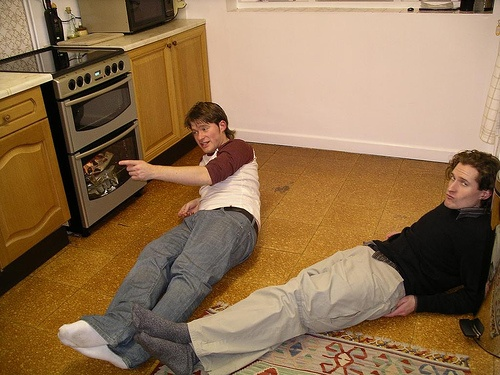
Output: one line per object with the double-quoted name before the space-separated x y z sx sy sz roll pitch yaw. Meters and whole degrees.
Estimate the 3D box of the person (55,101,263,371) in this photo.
"person" -0.493 0.068 2.132 0.614 0.951 1.635 8 36 34

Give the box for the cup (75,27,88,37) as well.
"cup" -1.390 -1.291 3.038 0.082 0.078 0.084 1 32 0

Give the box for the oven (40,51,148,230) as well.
"oven" -1.277 -0.399 2.701 0.721 1.044 0.744 12 31 17

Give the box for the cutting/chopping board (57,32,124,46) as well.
"cutting/chopping board" -1.282 -1.197 2.946 0.367 0.059 0.407 10 31 21

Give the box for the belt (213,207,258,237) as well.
"belt" -0.068 0.196 2.076 0.159 0.042 0.168 37 20 17

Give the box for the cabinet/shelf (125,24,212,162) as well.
"cabinet/shelf" -0.713 -0.798 3.045 0.406 0.925 1.076 8 34 19

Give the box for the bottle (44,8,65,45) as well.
"bottle" -1.532 -1.270 2.881 0.062 0.222 0.155 3 24 5
